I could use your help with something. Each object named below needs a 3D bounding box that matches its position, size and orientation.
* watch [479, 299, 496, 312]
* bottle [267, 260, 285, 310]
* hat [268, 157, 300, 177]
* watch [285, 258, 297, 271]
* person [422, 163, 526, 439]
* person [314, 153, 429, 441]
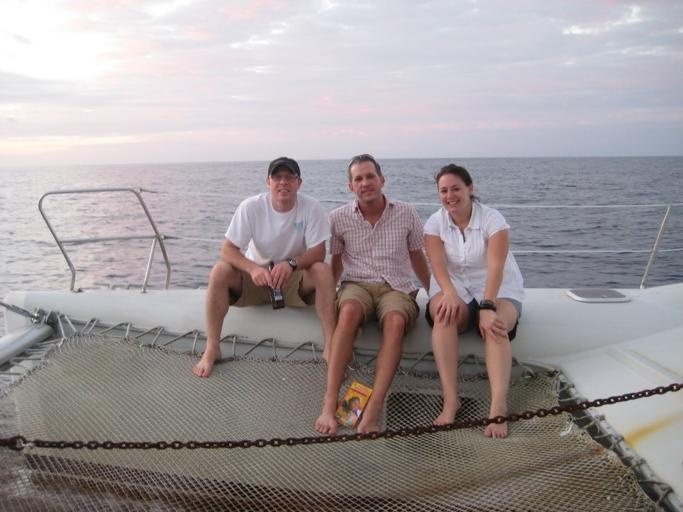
[{"bbox_3d":[0.765,0.262,2.765,0.086,0.050,0.084,3,18,12],"label":"watch"},{"bbox_3d":[-0.350,0.177,3.018,0.086,0.258,0.103,-7,-5,1],"label":"bottle"},{"bbox_3d":[-0.342,-0.529,3.190,0.190,0.119,0.192,-3,18,-6],"label":"hat"},{"bbox_3d":[-0.275,0.048,3.061,0.051,0.070,0.071,17,40,-6],"label":"watch"},{"bbox_3d":[0.722,0.159,2.799,0.580,1.177,0.982,2,19,8],"label":"person"},{"bbox_3d":[0.179,0.099,2.934,0.617,1.222,1.113,2,19,9],"label":"person"}]
